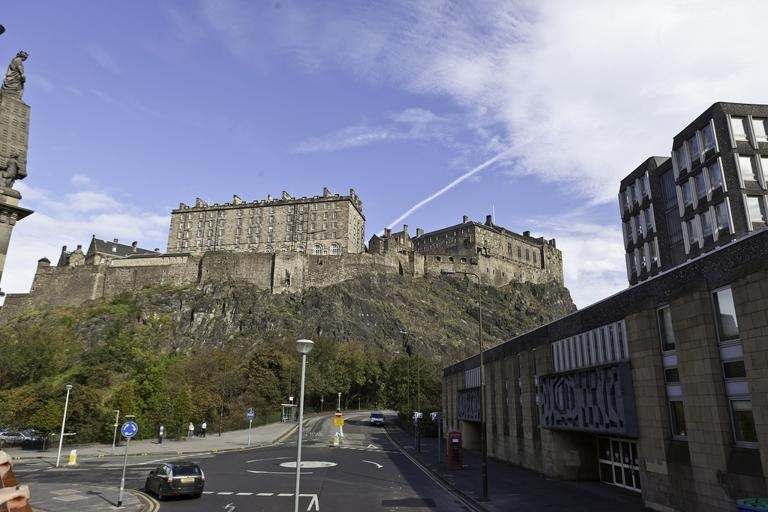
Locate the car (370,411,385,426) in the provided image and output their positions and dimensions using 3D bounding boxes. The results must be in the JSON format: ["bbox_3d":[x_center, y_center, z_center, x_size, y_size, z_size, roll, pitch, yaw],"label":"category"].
[{"bbox_3d":[-0.984,23.906,69.032,1.855,1.485,3.095,1,-28,-1],"label":"car"}]

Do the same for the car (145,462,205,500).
[{"bbox_3d":[-12.130,12.993,27.235,3.662,1.913,1.318,-8,-21,26],"label":"car"}]
